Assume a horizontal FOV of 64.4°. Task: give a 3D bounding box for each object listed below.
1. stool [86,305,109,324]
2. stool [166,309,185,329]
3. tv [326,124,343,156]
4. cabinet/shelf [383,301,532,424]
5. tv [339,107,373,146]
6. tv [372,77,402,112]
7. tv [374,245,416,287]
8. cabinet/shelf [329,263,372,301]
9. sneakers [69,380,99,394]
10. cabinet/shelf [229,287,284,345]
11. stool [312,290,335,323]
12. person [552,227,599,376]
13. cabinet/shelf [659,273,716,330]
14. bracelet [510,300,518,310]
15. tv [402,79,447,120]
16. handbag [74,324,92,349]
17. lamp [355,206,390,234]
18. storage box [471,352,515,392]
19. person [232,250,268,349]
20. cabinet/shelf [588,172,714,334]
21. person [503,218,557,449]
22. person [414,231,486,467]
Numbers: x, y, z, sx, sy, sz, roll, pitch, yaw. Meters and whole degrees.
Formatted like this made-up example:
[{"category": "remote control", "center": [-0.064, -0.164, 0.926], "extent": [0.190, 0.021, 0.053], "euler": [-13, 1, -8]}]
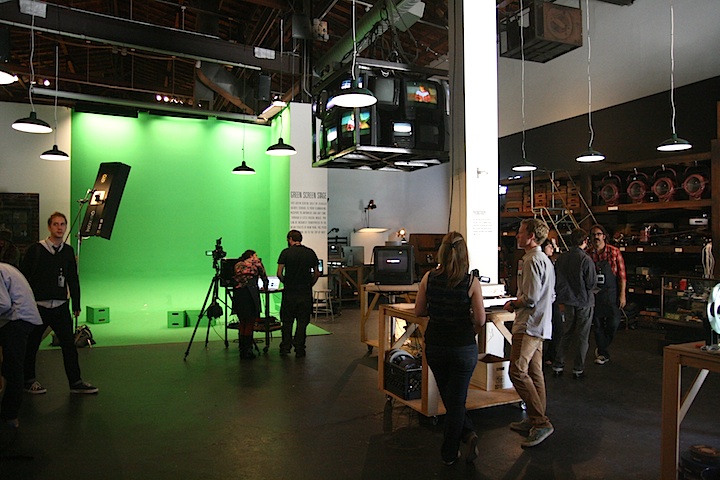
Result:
[{"category": "stool", "center": [-5.431, 1.500, 11.771], "extent": [0.360, 0.280, 0.368], "euler": [0, -1, 40]}, {"category": "stool", "center": [-3.803, 1.588, 11.707], "extent": [0.384, 0.265, 0.365], "euler": [-3, 15, -10]}, {"category": "tv", "center": [-0.402, -1.596, 9.042], "extent": [0.067, 0.671, 0.500], "euler": [-2, 4, -26]}, {"category": "cabinet/shelf", "center": [1.132, 1.640, 7.956], "extent": [1.578, 1.446, 1.655], "euler": [-1, 2, -19]}, {"category": "tv", "center": [-0.044, -1.731, 8.696], "extent": [0.564, 0.575, 0.137], "euler": [-3, 5, 0]}, {"category": "tv", "center": [0.405, -2.270, 8.873], "extent": [0.370, 0.435, 0.520], "euler": [1, 2, 2]}, {"category": "tv", "center": [0.590, 0.423, 9.860], "extent": [0.633, 0.662, 0.617], "euler": [2, -1, -5]}, {"category": "cabinet/shelf", "center": [-0.256, 0.975, 13.672], "extent": [0.914, 0.859, 0.456], "euler": [1, -3, -39]}, {"category": "sneakers", "center": [-3.947, 2.081, 8.199], "extent": [0.454, 0.197, 0.169], "euler": [2, -2, -8]}, {"category": "cabinet/shelf", "center": [-1.870, 1.448, 10.519], "extent": [0.992, 1.187, 1.248], "euler": [1, -2, 12]}, {"category": "stool", "center": [-0.877, 1.428, 12.960], "extent": [0.546, 0.760, 0.545], "euler": [0, -7, -24]}, {"category": "person", "center": [3.303, 0.943, 8.772], "extent": [0.623, 2.135, 0.738], "euler": [5, 15, 17]}, {"category": "cabinet/shelf", "center": [5.282, 0.961, 9.150], "extent": [0.399, 0.946, 1.001], "euler": [-5, 9, -34]}, {"category": "bracelet", "center": [1.931, 0.794, 7.091], "extent": [0.027, 0.113, 0.079], "euler": [-3, 8, -36]}, {"category": "tv", "center": [0.981, -2.186, 8.938], "extent": [0.672, 0.594, 0.362], "euler": [1, -3, -21]}, {"category": "handbag", "center": [-4.925, 1.656, 10.182], "extent": [0.298, 0.491, 0.379], "euler": [-5, 4, -34]}, {"category": "lamp", "center": [0.346, -0.699, 16.677], "extent": [0.795, 0.863, 0.868], "euler": [-1, 3, -9]}, {"category": "storage box", "center": [1.827, 1.803, 7.792], "extent": [0.472, 0.362, 0.466], "euler": [0, 1, -27]}, {"category": "person", "center": [-1.879, 1.102, 9.631], "extent": [0.562, 1.724, 0.705], "euler": [2, 15, 6]}, {"category": "cabinet/shelf", "center": [5.407, 0.255, 10.402], "extent": [0.972, 2.987, 3.167], "euler": [0, 0, -21]}, {"category": "person", "center": [2.132, 1.111, 7.073], "extent": [0.656, 2.632, 0.910], "euler": [3, 15, 11]}, {"category": "person", "center": [1.038, 1.232, 6.706], "extent": [0.577, 2.620, 0.677], "euler": [-11, 18, -36]}]
